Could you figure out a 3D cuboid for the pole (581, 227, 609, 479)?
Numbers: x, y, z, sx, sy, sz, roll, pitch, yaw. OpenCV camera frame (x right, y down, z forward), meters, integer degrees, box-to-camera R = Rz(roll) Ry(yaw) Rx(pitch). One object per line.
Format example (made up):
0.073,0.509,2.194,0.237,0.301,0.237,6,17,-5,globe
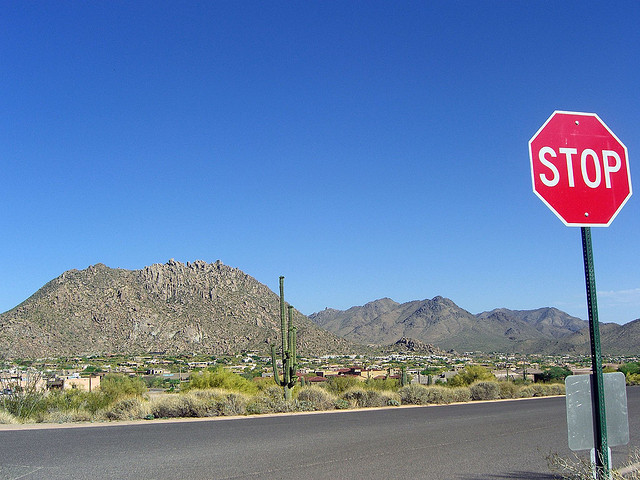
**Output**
4.165,1.716,9.469,0.198,3.782,0.776,-6,-13,23,pole

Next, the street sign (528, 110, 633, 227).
3.856,-1.016,9.372,1.660,2.147,0.228,3,-14,-14,street sign
